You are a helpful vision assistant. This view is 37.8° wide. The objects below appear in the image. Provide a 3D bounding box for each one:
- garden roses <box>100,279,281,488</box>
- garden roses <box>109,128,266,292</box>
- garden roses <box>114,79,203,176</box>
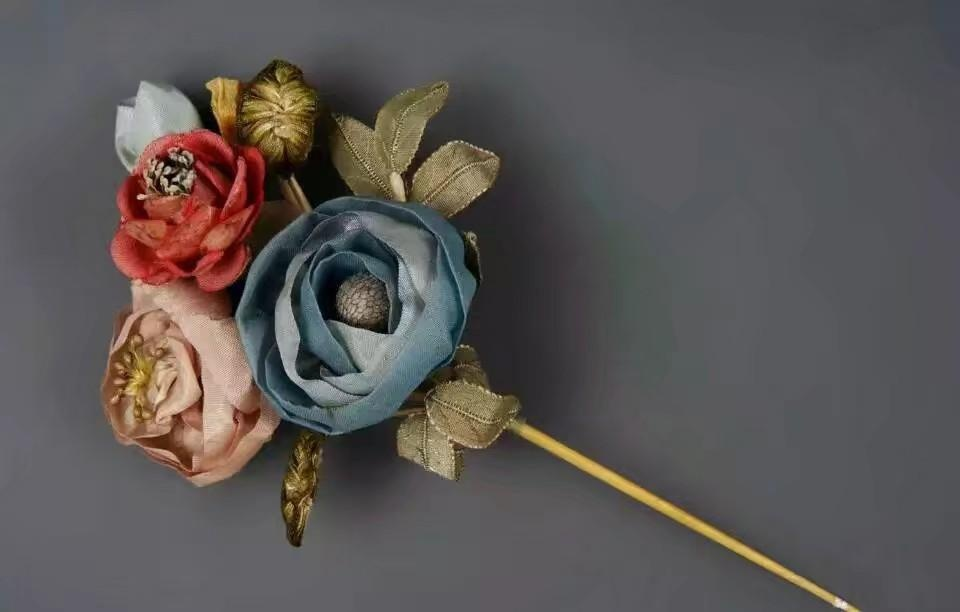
[{"bbox_3d":[-0.373,0.078,1.872,0.275,0.202,0.126,56,9,2],"label":"garden roses"},{"bbox_3d":[-0.365,-0.105,1.767,0.185,0.206,0.089,17,4,8],"label":"garden roses"},{"bbox_3d":[-0.428,-0.245,1.881,0.117,0.100,0.119,-17,-15,-1],"label":"garden roses"}]
